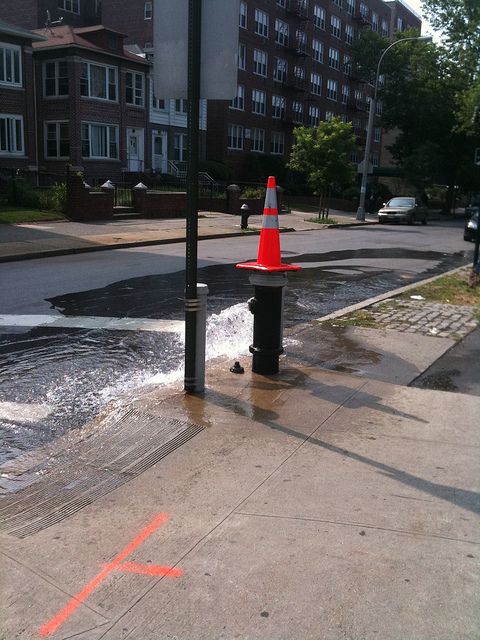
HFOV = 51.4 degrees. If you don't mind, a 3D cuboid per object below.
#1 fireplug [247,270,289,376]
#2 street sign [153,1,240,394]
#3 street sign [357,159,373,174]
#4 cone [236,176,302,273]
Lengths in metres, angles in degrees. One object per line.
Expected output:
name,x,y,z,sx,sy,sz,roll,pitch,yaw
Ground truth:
fireplug,0.249,0.021,4.557,0.350,0.970,0.220,0,9,3
street sign,-0.335,-0.895,3.810,0.690,3.021,0.442,1,9,7
street sign,8.478,-10.416,33.582,0.752,0.969,2.169,3,9,22
cone,0.263,-0.874,4.497,0.401,0.869,0.406,-4,9,-25
